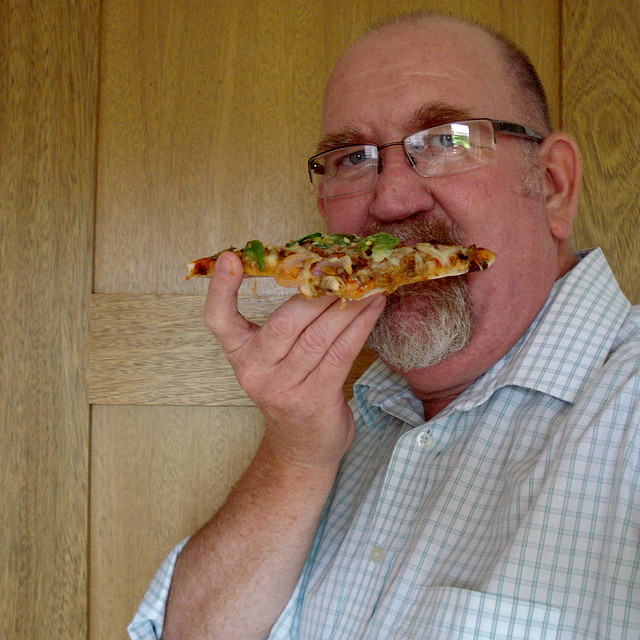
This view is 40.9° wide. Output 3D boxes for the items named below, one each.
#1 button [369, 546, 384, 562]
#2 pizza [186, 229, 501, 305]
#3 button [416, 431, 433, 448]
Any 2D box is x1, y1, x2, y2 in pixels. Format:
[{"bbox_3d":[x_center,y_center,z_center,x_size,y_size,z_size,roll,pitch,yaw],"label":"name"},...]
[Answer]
[{"bbox_3d":[0.135,0.550,2.021,0.038,0.009,0.031,14,74,38],"label":"button"},{"bbox_3d":[0.065,-0.082,1.927,0.658,0.091,0.222,-2,35,5],"label":"pizza"},{"bbox_3d":[0.253,0.289,2.077,0.054,0.039,0.011,-1,-4,3],"label":"button"}]
